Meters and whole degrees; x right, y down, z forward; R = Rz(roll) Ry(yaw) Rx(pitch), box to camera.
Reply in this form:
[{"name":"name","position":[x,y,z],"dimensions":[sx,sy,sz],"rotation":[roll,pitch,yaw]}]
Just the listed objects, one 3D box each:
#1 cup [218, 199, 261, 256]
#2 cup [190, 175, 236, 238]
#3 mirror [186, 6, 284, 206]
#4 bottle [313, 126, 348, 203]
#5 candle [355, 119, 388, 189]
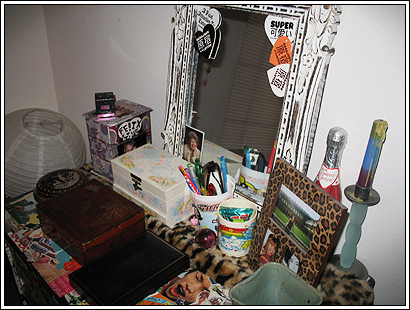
[{"name":"cup","position":[0.102,0.239,0.943],"dimensions":[0.125,0.175,0.082],"rotation":[5,24,4]},{"name":"cup","position":[0.026,0.187,1.021],"dimensions":[0.112,0.129,0.110],"rotation":[-8,13,2]},{"name":"mirror","position":[0.090,-0.173,0.993],"dimensions":[0.383,0.603,0.072],"rotation":[24,31,39]},{"name":"bottle","position":[0.377,0.040,0.841],"dimensions":[0.081,0.232,0.113],"rotation":[17,27,28]},{"name":"candle","position":[0.451,-0.011,0.756],"dimensions":[0.111,0.178,0.034],"rotation":[-19,32,-41]}]
